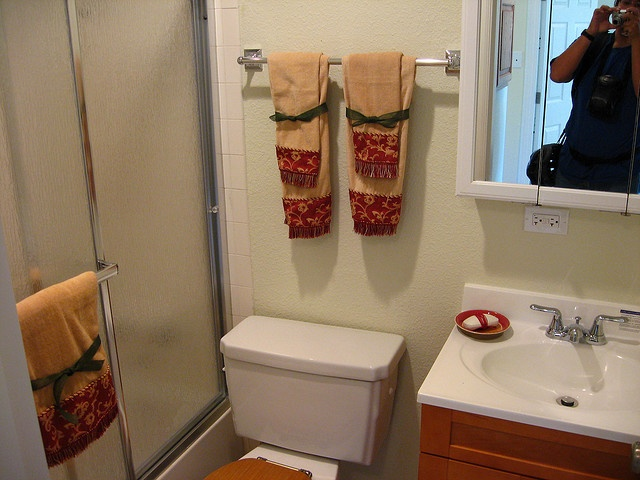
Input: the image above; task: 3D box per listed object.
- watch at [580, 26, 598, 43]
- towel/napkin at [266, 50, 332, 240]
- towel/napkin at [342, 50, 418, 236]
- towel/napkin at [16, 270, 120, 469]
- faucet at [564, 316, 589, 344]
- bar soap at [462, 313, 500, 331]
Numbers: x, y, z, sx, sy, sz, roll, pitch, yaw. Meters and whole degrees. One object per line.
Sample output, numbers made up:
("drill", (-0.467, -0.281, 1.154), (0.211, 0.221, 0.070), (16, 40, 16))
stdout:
("watch", (0.771, -0.591, 1.528), (0.031, 0.031, 0.013), (-41, 21, 24))
("towel/napkin", (-0.067, -0.312, 1.810), (0.200, 0.615, 0.105), (-2, 19, 0))
("towel/napkin", (0.189, -0.305, 1.740), (0.228, 0.583, 0.101), (-1, 19, 3))
("towel/napkin", (-0.613, 0.313, 1.289), (0.130, 0.407, 0.305), (1, 18, 24))
("faucet", (0.791, 0.279, 1.632), (0.053, 0.081, 0.028), (-2, -12, 30))
("bar soap", (0.520, 0.255, 1.703), (0.092, 0.030, 0.054), (-4, 19, -9))
